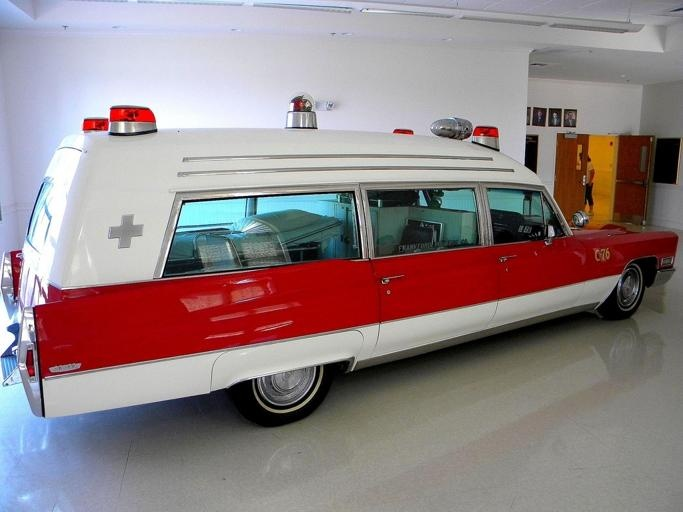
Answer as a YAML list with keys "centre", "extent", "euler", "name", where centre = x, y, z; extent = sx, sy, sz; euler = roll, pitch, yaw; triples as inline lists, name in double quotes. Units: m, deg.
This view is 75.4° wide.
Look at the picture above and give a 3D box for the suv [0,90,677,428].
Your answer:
- centre: [0.447, -0.357, 4.179]
  extent: [5.715, 1.918, 2.017]
  euler: [-9, 16, -29]
  name: "suv"
